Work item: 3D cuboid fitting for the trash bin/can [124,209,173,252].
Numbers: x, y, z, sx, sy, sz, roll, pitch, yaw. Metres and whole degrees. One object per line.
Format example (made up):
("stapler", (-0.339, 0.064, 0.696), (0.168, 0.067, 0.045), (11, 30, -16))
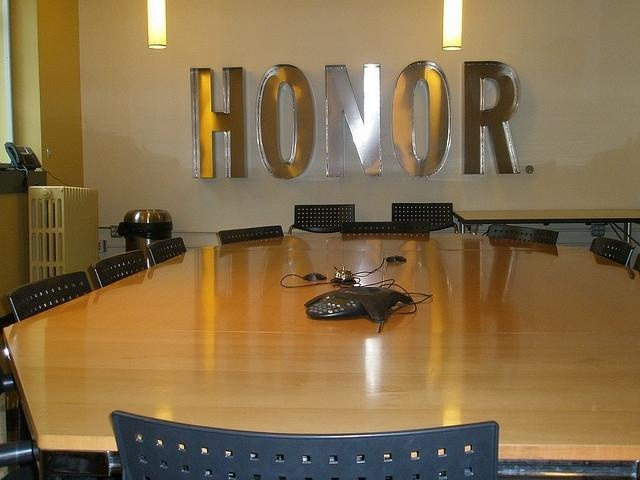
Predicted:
("trash bin/can", (-1.643, -0.053, 5.339), (0.454, 0.478, 0.448), (-1, 6, -7))

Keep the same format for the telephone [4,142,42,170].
("telephone", (-2.291, -0.643, 4.333), (0.234, 0.216, 0.322), (-2, 3, -29))
